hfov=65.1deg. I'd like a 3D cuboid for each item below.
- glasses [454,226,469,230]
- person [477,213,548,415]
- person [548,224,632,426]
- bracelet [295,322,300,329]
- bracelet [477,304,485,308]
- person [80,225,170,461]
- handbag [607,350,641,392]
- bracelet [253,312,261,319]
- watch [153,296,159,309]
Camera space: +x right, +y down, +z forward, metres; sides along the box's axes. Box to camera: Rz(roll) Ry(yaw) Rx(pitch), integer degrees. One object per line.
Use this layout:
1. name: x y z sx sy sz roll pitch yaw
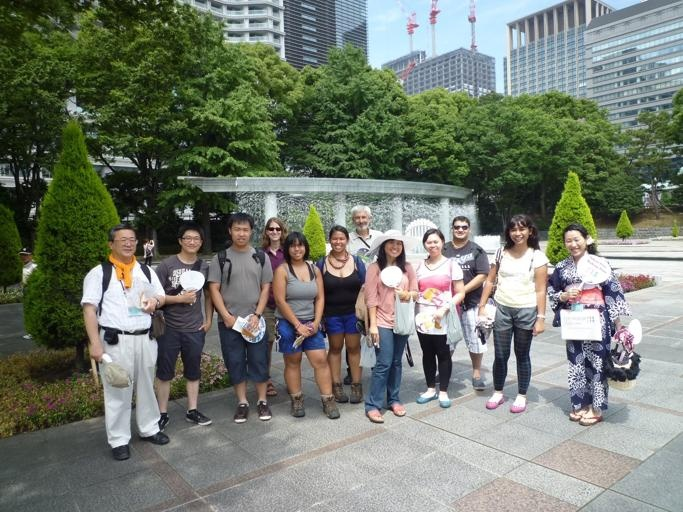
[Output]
1. glasses: 1.591 -0.374 7.082 0.174 0.071 0.066 2 12 12
2. person: 2.087 0.656 6.495 0.756 2.284 0.812 4 12 21
3. person: 2.805 0.741 6.154 0.809 2.168 0.703 8 14 37
4. bracelet: -0.528 0.820 6.371 0.048 0.067 0.033 6 1 33
5. bracelet: 1.778 0.624 6.743 0.056 0.050 0.062 3 -3 -35
6. person: -2.313 0.863 5.787 0.758 2.333 0.847 9 15 39
7. handbag: 3.216 1.258 5.971 0.361 0.411 0.406 2 0 1
8. bracelet: -0.998 0.705 6.360 0.069 0.046 0.064 14 -43 -29
9. watch: -2.056 0.514 5.916 0.099 0.108 0.068 8 10 43
